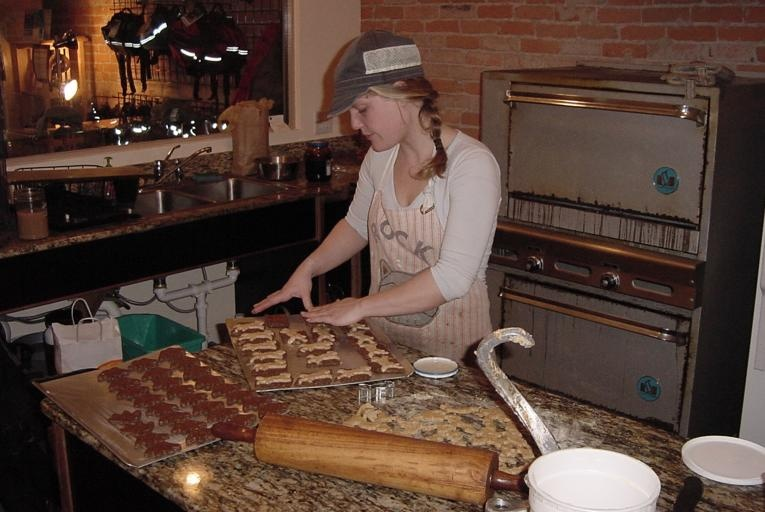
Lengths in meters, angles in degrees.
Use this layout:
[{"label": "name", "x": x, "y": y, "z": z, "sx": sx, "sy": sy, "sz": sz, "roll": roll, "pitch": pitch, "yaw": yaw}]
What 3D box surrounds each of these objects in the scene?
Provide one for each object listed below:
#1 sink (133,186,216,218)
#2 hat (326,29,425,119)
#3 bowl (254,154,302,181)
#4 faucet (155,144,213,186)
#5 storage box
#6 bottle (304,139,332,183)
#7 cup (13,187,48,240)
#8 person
[{"label": "sink", "x": -1.276, "y": -0.338, "z": 3.546, "sx": 0.297, "sy": 0.169, "sz": 0.291, "roll": -11, "pitch": 23, "yaw": -39}, {"label": "hat", "x": -0.051, "y": -0.697, "z": 2.218, "sx": 0.436, "sy": 0.246, "sz": 0.300, "roll": -19, "pitch": 19, "yaw": -18}, {"label": "bowl", "x": -0.677, "y": -0.579, "z": 3.775, "sx": 0.211, "sy": 0.076, "sz": 0.205, "roll": -1, "pitch": 15, "yaw": 0}, {"label": "faucet", "x": -1.238, "y": -0.572, "z": 3.743, "sx": 0.318, "sy": 0.221, "sz": 0.297, "roll": -1, "pitch": 14, "yaw": -13}, {"label": "storage box", "x": -1.230, "y": 0.428, "z": 3.276, "sx": 0.451, "sy": 0.150, "sz": 0.350, "roll": 17, "pitch": 20, "yaw": 42}, {"label": "bottle", "x": -0.410, "y": -0.601, "z": 3.826, "sx": 0.185, "sy": 0.249, "sz": 0.181, "roll": 2, "pitch": 20, "yaw": -1}, {"label": "cup", "x": -1.625, "y": -0.195, "z": 2.783, "sx": 0.139, "sy": 0.220, "sz": 0.130, "roll": 5, "pitch": 19, "yaw": -2}, {"label": "person", "x": 0.027, "y": -0.190, "z": 2.239, "sx": 0.751, "sy": 1.240, "sz": 0.572, "roll": 8, "pitch": 15, "yaw": 24}]
